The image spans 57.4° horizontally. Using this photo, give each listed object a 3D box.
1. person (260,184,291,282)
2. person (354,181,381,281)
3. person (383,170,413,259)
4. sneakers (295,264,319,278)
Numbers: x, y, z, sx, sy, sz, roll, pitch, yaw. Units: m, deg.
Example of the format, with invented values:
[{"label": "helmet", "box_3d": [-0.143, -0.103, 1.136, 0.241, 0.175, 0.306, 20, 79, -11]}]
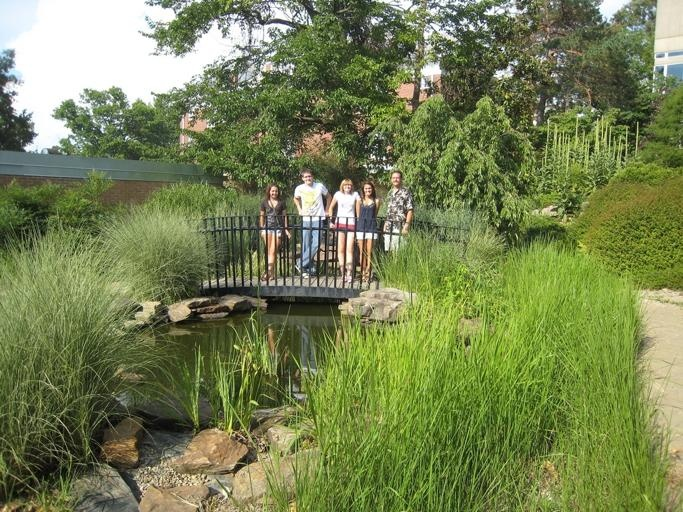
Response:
[{"label": "person", "box_3d": [-1.191, -0.420, 11.011, 0.541, 1.677, 1.333, 0, 7, -8]}, {"label": "person", "box_3d": [0.424, -0.399, 10.630, 0.383, 1.729, 0.777, 1, 7, 2]}, {"label": "person", "box_3d": [0.950, -0.762, 10.845, 0.560, 1.424, 0.760, -4, 9, -38]}, {"label": "sneakers", "box_3d": [-0.639, 0.275, 11.208, 0.176, 0.296, 0.644, 0, -1, -15]}]
